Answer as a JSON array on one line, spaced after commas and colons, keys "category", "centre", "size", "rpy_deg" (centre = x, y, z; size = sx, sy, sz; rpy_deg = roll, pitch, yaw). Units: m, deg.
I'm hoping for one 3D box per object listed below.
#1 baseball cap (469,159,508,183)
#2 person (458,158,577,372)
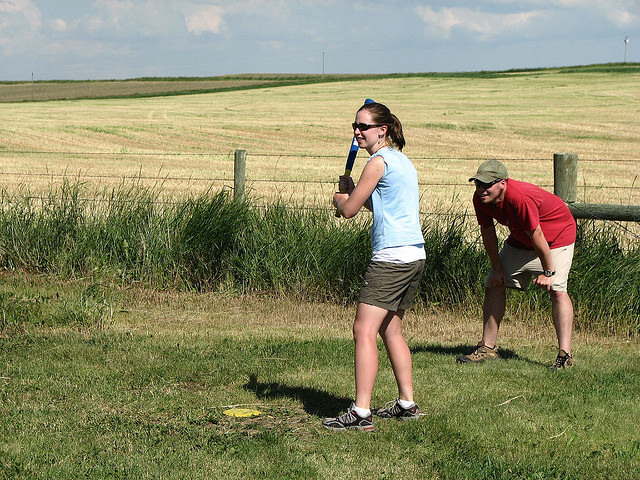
[{"category": "baseball cap", "centre": [1.848, -0.758, 13.280], "size": [0.238, 0.201, 0.349], "rpy_deg": [4, 10, 44]}, {"category": "person", "centre": [2.266, 0.281, 13.713], "size": [1.187, 2.387, 0.923], "rpy_deg": [0, 5, 10]}]
